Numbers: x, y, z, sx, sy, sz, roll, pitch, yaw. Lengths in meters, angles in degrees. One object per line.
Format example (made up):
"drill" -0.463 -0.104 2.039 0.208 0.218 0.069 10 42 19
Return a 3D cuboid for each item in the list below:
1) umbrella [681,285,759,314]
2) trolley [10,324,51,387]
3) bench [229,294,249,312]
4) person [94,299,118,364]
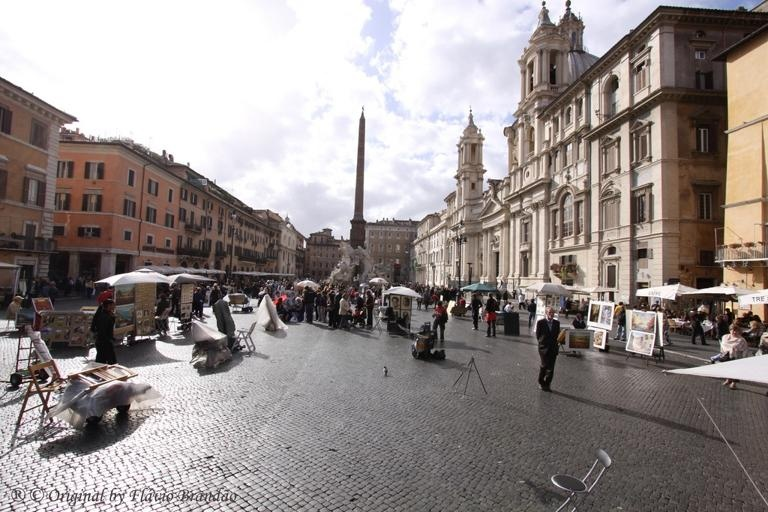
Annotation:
"umbrella" 18.097 2.045 28.148 2.223 0.749 2.140 0 -7 -8
"trolley" -12.180 3.368 17.799 1.237 1.646 1.309 5 -7 13
"bench" -9.162 3.004 33.624 1.116 1.351 0.892 1 38 -1
"person" -9.767 2.596 18.352 0.713 2.180 0.927 -8 16 -30
